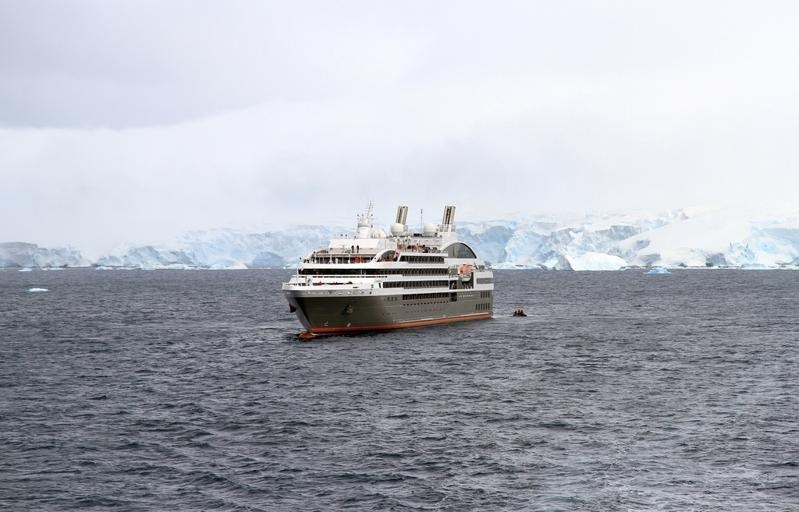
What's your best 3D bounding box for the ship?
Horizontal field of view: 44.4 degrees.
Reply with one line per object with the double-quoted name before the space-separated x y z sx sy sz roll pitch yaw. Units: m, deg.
"ship" -2.207 2.608 144.943 16.610 17.302 40.049 -2 -2 28
